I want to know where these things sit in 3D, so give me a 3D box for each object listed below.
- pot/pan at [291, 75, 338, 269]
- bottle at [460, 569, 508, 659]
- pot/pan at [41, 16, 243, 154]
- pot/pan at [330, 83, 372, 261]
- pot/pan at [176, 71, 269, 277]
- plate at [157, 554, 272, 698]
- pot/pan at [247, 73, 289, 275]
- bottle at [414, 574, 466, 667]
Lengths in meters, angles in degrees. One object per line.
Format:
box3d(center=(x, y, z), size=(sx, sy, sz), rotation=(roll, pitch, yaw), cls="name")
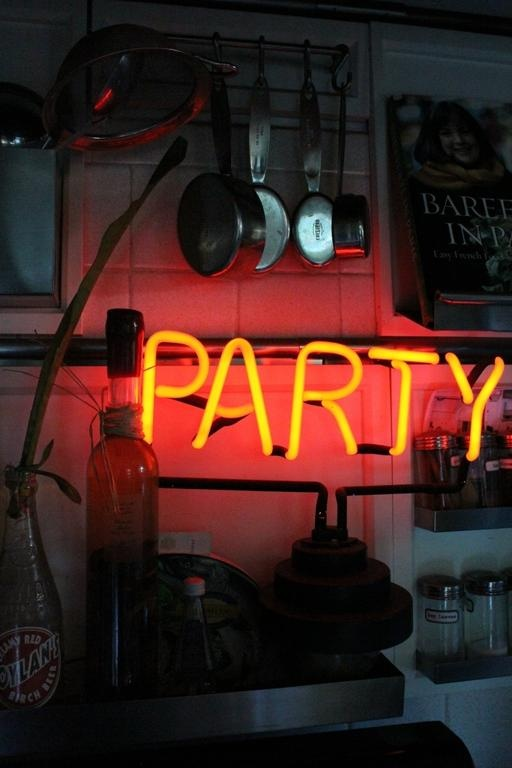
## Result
box3d(center=(0.084, -0.330, 1.147), size=(0.082, 0.270, 0.038), rotation=(-6, 5, -30), cls="pot/pan")
box3d(center=(0.381, 0.365, 1.162), size=(0.097, 0.126, 0.067), rotation=(3, -9, -18), cls="bottle")
box3d(center=(-0.144, -0.370, 0.906), size=(0.215, 0.039, 0.184), rotation=(-7, -24, -20), cls="pot/pan")
box3d(center=(0.149, -0.337, 1.150), size=(0.055, 0.288, 0.096), rotation=(-1, -9, 9), cls="pot/pan")
box3d(center=(-0.064, -0.303, 1.069), size=(0.042, 0.289, 0.142), rotation=(-3, -8, -16), cls="pot/pan")
box3d(center=(-0.055, 0.299, 0.885), size=(0.140, 0.141, 0.050), rotation=(2, -19, -13), cls="plate")
box3d(center=(0.010, -0.324, 1.129), size=(0.106, 0.257, 0.030), rotation=(-6, 3, -41), cls="pot/pan")
box3d(center=(0.290, 0.368, 1.145), size=(0.078, 0.127, 0.076), rotation=(1, -9, 0), cls="bottle")
